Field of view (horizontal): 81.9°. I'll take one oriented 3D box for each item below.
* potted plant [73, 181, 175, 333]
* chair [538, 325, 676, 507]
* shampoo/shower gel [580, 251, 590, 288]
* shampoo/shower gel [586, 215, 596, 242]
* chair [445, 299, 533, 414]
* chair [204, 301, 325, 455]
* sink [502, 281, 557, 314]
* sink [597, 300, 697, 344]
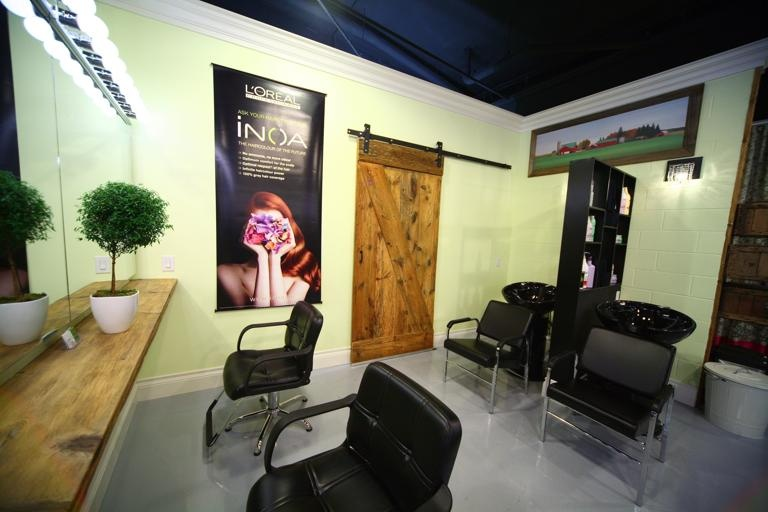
[{"bbox_3d":[-2.289,0.005,3.844,0.810,1.224,0.773,2,-1,-3],"label":"potted plant"},{"bbox_3d":[2.117,1.549,4.157,1.009,1.583,1.229,-4,8,-38],"label":"chair"},{"bbox_3d":[2.208,0.158,4.861,0.083,0.389,0.316,5,6,25],"label":"shampoo/shower gel"},{"bbox_3d":[2.272,-0.304,4.868,0.070,0.288,0.338,5,6,28],"label":"shampoo/shower gel"},{"bbox_3d":[1.177,1.071,5.038,0.949,1.059,0.859,0,6,-16],"label":"chair"},{"bbox_3d":[-1.219,1.137,4.327,1.155,1.219,0.916,-4,16,-31],"label":"chair"},{"bbox_3d":[1.812,0.491,5.409,0.593,0.214,0.573,-12,5,-1],"label":"sink"},{"bbox_3d":[2.662,0.731,4.572,0.882,0.277,0.924,4,12,12],"label":"sink"}]
